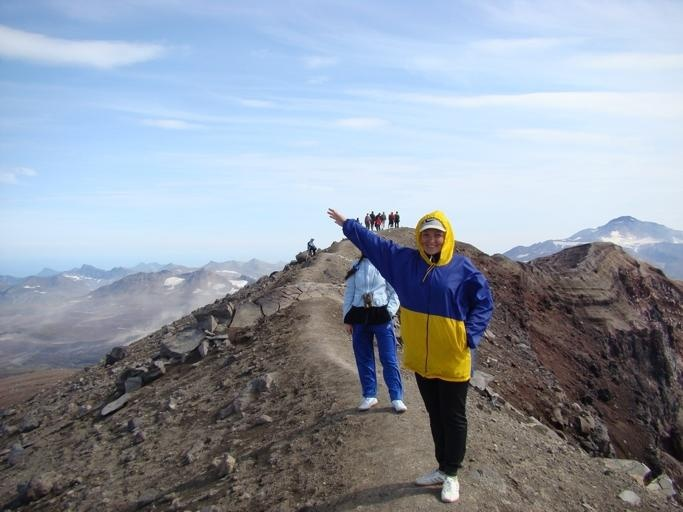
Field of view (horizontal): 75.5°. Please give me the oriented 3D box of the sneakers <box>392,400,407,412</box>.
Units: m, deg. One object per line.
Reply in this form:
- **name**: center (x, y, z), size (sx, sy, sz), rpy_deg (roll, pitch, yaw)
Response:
- **sneakers**: center (1.069, 2.772, 8.107), size (0.132, 0.123, 0.327), rpy_deg (13, -6, -20)

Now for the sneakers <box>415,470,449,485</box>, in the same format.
- **sneakers**: center (1.354, 3.344, 6.660), size (0.499, 0.204, 0.179), rpy_deg (-1, 11, 1)

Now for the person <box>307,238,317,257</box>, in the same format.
- **person**: center (-1.697, -0.484, 25.058), size (0.504, 0.971, 2.111), rpy_deg (-9, 6, -4)
